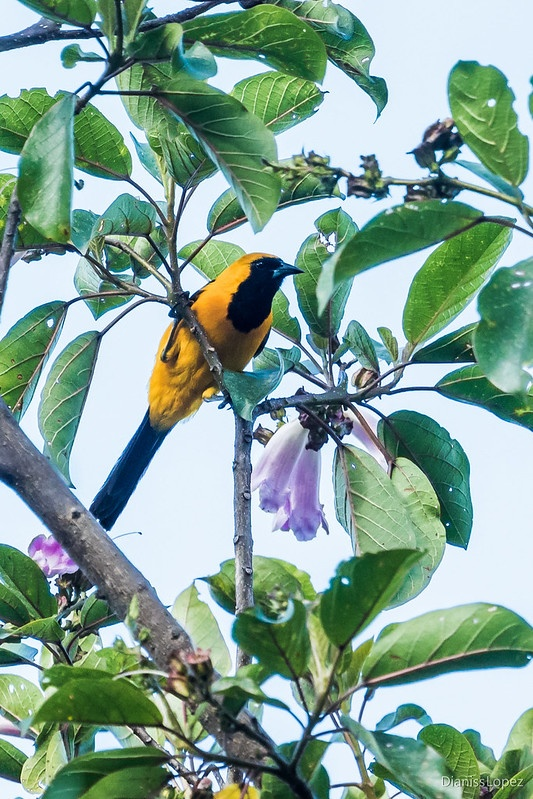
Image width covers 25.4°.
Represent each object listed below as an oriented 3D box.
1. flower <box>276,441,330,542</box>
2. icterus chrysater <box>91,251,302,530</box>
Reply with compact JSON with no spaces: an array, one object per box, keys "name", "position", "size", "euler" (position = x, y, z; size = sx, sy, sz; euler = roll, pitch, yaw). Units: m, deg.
[{"name":"flower","position":[0.084,0.196,2.938],"size":[0.150,0.133,0.256],"euler":[1,-66,-13]},{"name":"icterus chrysater","position":[-0.131,-0.105,3.112],"size":[0.259,0.345,0.937],"euler":[39,-79,-17]}]
